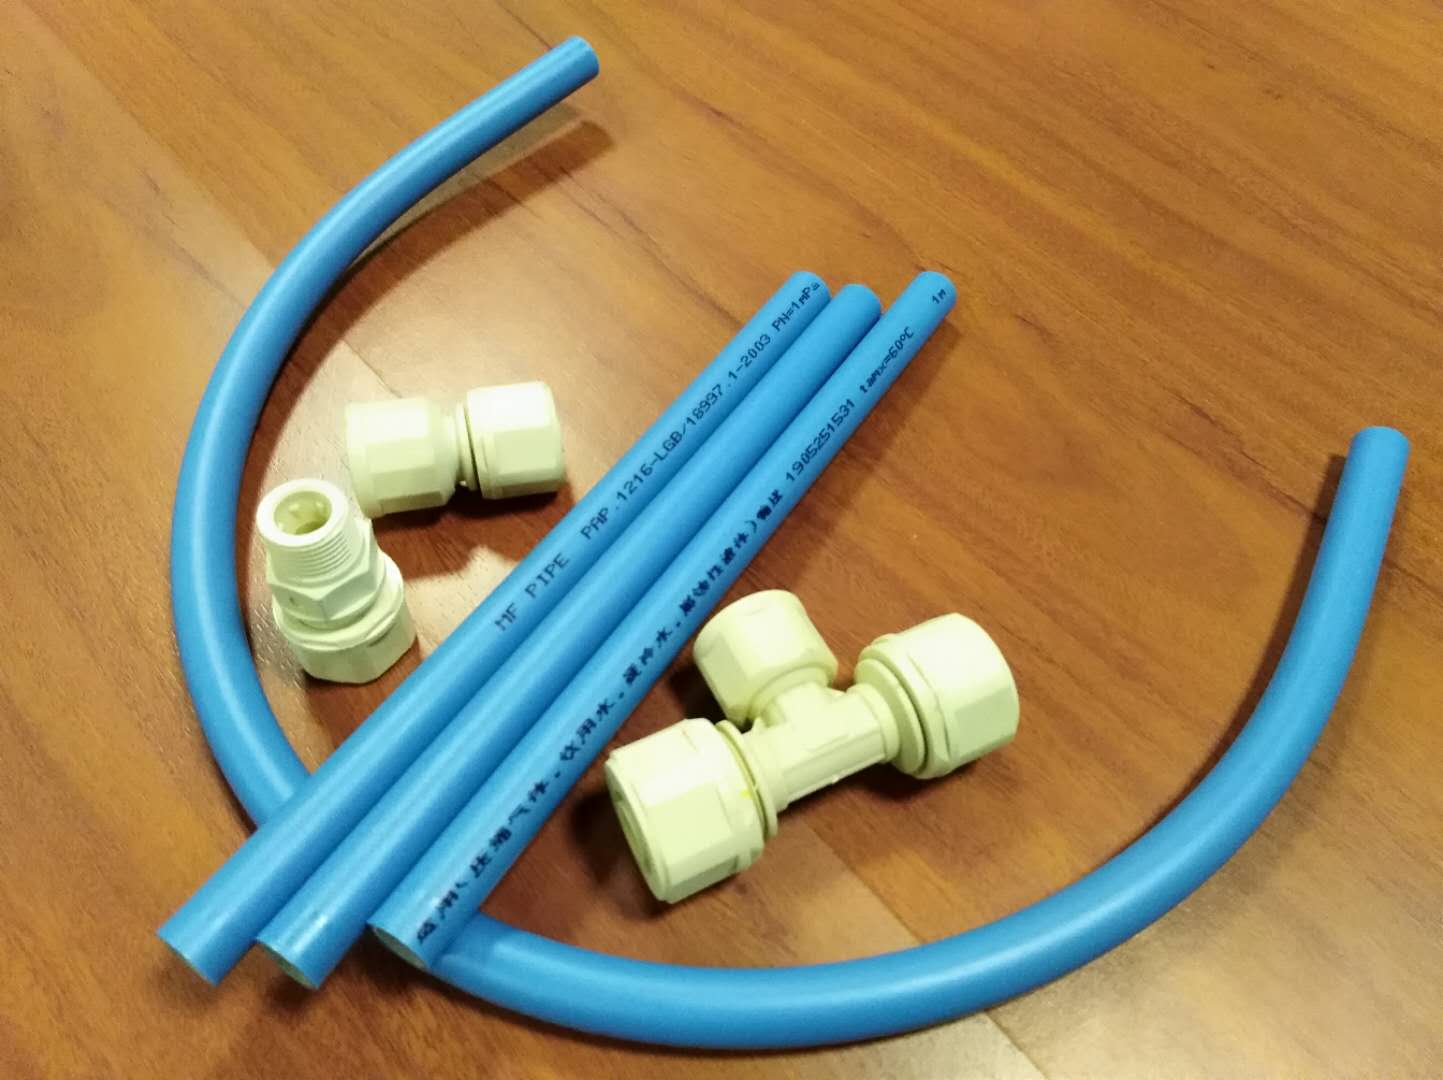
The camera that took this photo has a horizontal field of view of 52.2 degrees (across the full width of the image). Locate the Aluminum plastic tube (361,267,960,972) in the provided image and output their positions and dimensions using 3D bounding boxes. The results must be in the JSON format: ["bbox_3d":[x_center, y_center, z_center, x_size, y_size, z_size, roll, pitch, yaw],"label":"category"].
[{"bbox_3d":[-0.065,0.125,1.802,0.102,0.122,1.035,23,60,26],"label":"Aluminum plastic tube"}]

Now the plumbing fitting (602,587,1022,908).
[{"bbox_3d":[0.113,0.270,1.797,0.454,0.203,0.300,-24,44,-11],"label":"plumbing fitting"}]

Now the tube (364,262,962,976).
[{"bbox_3d":[-0.064,0.125,1.803,0.101,0.121,1.042,23,60,26],"label":"tube"}]

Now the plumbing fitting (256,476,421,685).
[{"bbox_3d":[-0.461,0.049,1.771,0.143,0.255,0.169,-18,58,-9],"label":"plumbing fitting"}]

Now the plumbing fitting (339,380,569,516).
[{"bbox_3d":[-0.334,-0.114,1.849,0.226,0.159,0.175,-12,91,-5],"label":"plumbing fitting"}]

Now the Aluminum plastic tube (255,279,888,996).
[{"bbox_3d":[-0.175,0.146,1.782,0.099,0.118,1.030,27,63,20],"label":"Aluminum plastic tube"}]

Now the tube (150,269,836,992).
[{"bbox_3d":[-0.366,0.099,1.951,0.493,0.229,0.865,33,74,14],"label":"tube"}]

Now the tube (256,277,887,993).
[{"bbox_3d":[-0.175,0.143,1.783,0.100,0.116,1.026,27,64,20],"label":"tube"}]
